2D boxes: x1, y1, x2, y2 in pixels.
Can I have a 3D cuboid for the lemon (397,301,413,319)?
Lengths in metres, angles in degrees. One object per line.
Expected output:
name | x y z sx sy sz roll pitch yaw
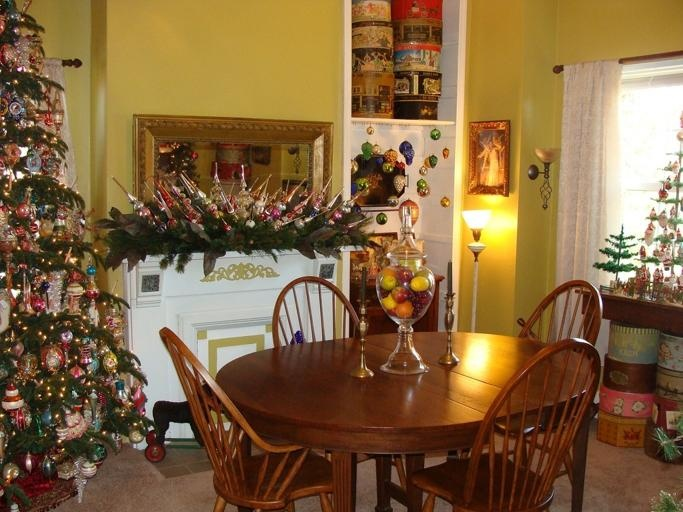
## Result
lemon | 0.300 0.259 2.856 0.069 0.079 0.070 -3 -8 16

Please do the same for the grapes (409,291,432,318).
grapes | 0.383 0.230 2.917 0.098 0.090 0.125 2 10 8

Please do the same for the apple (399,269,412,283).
apple | 0.299 0.097 2.841 0.050 0.055 0.054 3 0 30

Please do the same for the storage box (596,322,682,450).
storage box | 2.053 0.921 4.323 0.371 0.866 0.243 3 9 29

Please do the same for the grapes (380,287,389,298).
grapes | 0.203 0.181 2.893 0.043 0.062 0.047 1 9 4

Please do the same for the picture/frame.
picture/frame | 1.338 -0.875 5.441 0.059 0.924 0.605 -5 9 -32

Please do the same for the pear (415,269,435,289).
pear | 0.389 0.109 2.829 0.063 0.075 0.090 3 11 28

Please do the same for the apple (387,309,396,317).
apple | 0.238 0.275 2.899 0.029 0.049 0.062 -5 9 -25

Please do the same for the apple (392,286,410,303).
apple | 0.275 0.187 2.845 0.063 0.077 0.070 -1 4 -4

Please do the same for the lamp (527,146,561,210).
lamp | 1.736 -0.653 5.209 0.250 0.535 0.316 2 9 21

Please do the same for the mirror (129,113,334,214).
mirror | -0.861 -0.535 4.560 1.501 1.052 0.059 3 -6 0

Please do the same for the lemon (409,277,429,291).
lemon | 0.360 0.135 2.818 0.070 0.063 0.059 -1 12 -12
